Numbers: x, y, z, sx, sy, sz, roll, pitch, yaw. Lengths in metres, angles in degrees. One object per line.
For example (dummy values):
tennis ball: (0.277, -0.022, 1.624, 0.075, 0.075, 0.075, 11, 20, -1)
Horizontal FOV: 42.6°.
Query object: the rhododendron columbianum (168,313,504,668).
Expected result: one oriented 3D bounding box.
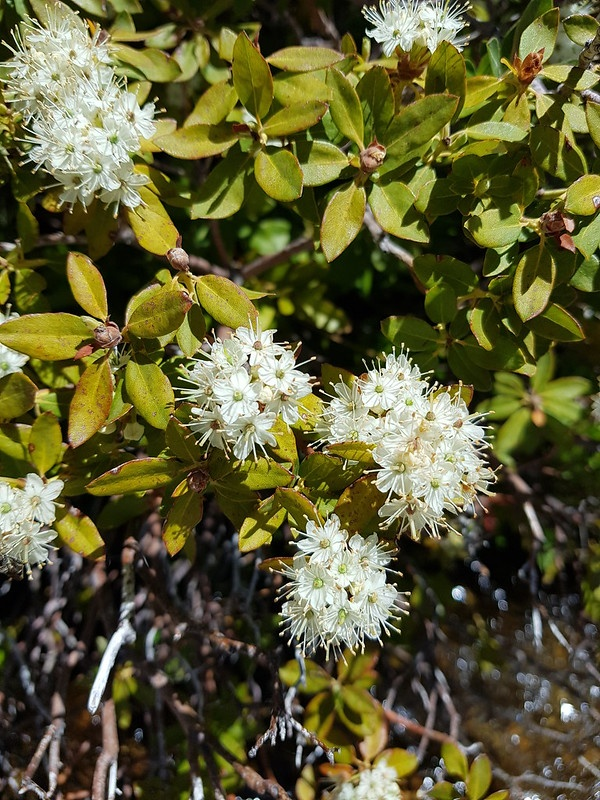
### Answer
rhododendron columbianum: (0.043, 0.122, 1.313, 0.522, 0.503, 0.316, 12, -8, 1)
